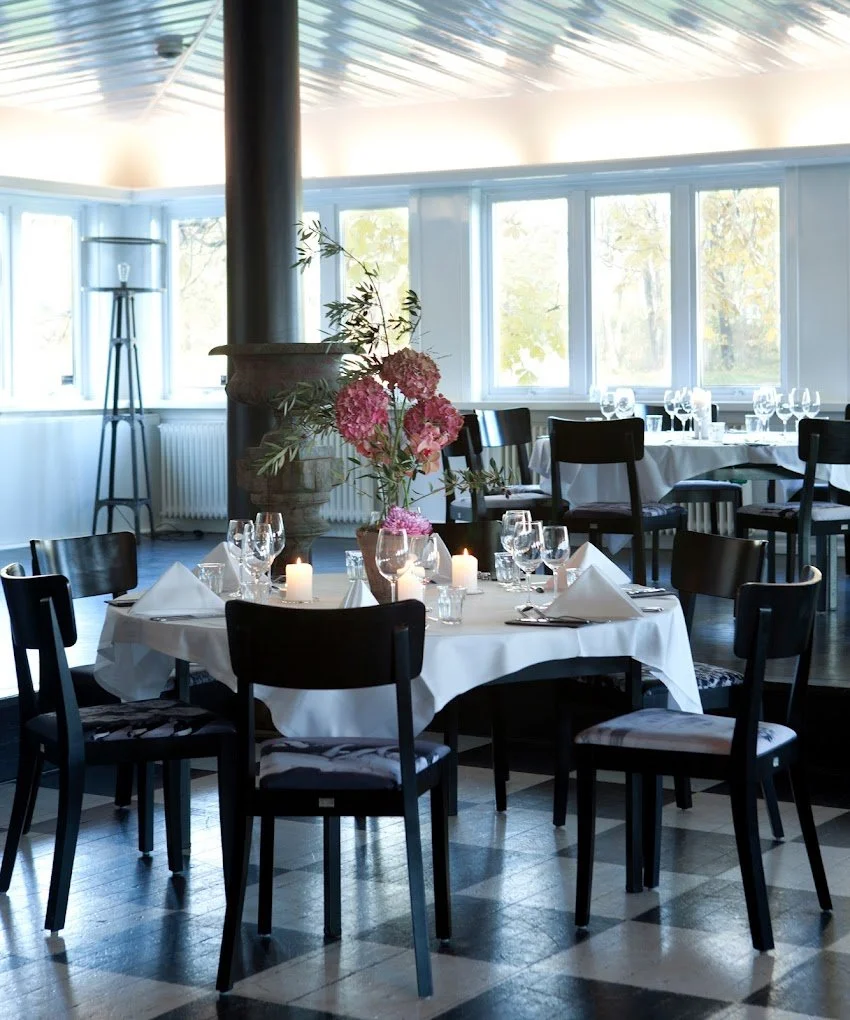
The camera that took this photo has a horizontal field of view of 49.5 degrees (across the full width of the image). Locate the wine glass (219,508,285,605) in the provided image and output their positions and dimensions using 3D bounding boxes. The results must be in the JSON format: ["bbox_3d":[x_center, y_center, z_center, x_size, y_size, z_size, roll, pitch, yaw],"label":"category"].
[{"bbox_3d":[-0.409,0.104,2.262,0.184,0.283,0.202,1,-2,3],"label":"wine glass"}]

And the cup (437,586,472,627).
[{"bbox_3d":[0.060,0.206,1.891,0.067,0.064,0.056,0,1,4],"label":"cup"}]

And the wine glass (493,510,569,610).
[{"bbox_3d":[0.240,0.119,2.129,0.183,0.287,0.204,-1,1,1],"label":"wine glass"}]

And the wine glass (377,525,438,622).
[{"bbox_3d":[-0.039,0.110,1.945,0.147,0.205,0.146,0,-3,9],"label":"wine glass"}]
